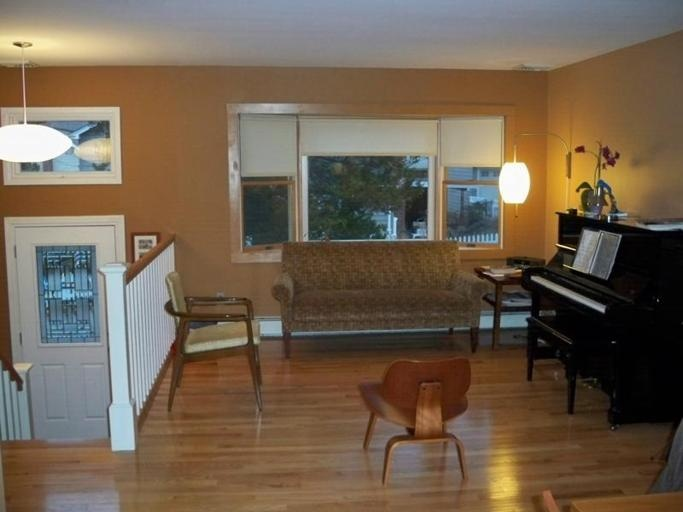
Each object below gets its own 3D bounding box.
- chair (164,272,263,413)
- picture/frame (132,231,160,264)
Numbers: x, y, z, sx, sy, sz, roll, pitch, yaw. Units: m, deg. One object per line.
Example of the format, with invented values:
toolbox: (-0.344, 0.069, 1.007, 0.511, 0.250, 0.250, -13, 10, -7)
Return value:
chair: (-1.164, 0.694, 5.789, 1.188, 1.396, 1.059, 0, 7, -9)
picture/frame: (-2.068, -0.091, 6.507, 0.351, 0.402, 0.028, 1, -1, -3)
